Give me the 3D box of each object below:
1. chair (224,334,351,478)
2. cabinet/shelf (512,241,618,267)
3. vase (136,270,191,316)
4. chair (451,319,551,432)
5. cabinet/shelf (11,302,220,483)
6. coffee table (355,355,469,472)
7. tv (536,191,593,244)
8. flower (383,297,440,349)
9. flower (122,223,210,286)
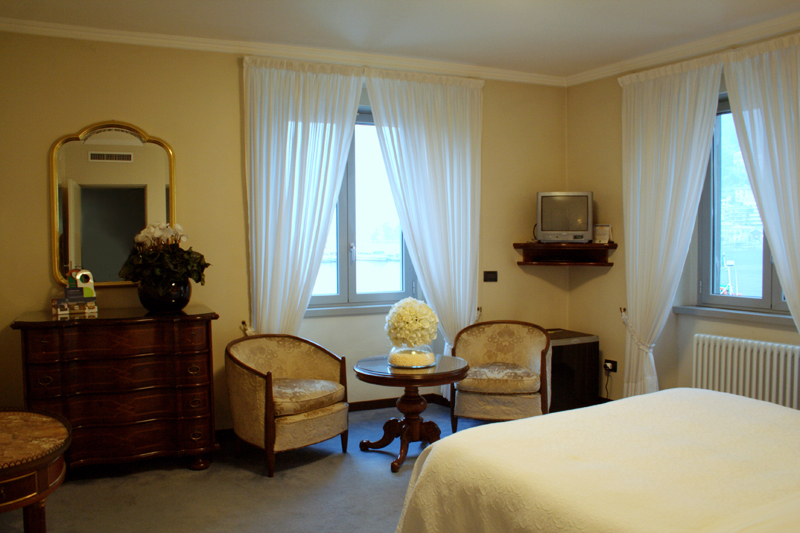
[{"bbox_3d":[-0.991,1.124,5.148,0.988,0.999,0.953,0,1,-31],"label":"chair"},{"bbox_3d":[1.714,-0.126,6.233,1.047,0.302,0.332,3,10,16],"label":"cabinet/shelf"},{"bbox_3d":[-1.983,0.214,4.998,0.414,0.311,0.424,1,3,-13],"label":"vase"},{"bbox_3d":[0.946,1.056,5.593,0.874,1.042,0.787,0,1,9],"label":"chair"},{"bbox_3d":[-2.266,0.976,4.907,1.447,1.288,0.613,-1,9,-19],"label":"cabinet/shelf"},{"bbox_3d":[0.084,1.150,4.945,0.875,0.667,0.869,-3,5,-31],"label":"coffee table"},{"bbox_3d":[1.625,-0.481,6.263,0.797,0.714,0.443,1,4,8],"label":"tv"},{"bbox_3d":[0.084,0.445,4.798,0.399,0.391,0.385,-1,-2,-10],"label":"flower"},{"bbox_3d":[-2.040,-0.144,4.970,0.609,0.344,0.526,-8,13,-8],"label":"flower"}]
